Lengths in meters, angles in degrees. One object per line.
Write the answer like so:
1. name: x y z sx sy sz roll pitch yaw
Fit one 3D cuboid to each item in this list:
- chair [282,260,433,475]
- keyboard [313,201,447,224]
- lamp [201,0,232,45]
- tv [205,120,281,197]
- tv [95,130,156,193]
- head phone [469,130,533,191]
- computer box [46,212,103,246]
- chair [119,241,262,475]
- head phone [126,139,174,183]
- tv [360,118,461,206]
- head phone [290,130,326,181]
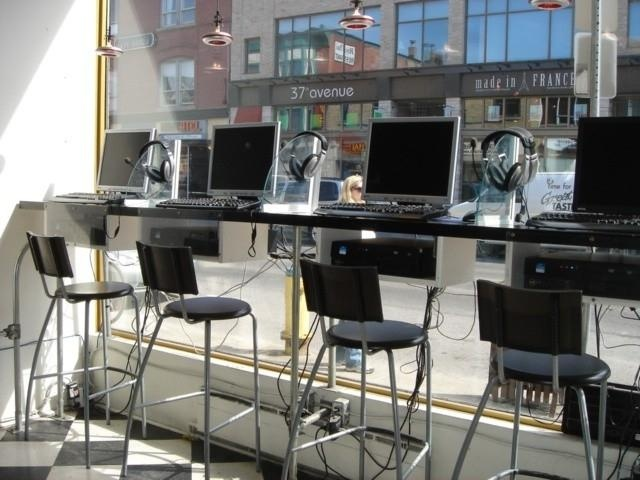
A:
1. chair: 0.194 0.720 3.087 0.713 1.357 0.507 2 15 10
2. keyboard: 0.283 -0.137 3.093 0.655 0.058 0.270 3 15 13
3. lamp: -0.676 -1.472 4.269 0.193 0.308 0.310 1 15 7
4. tv: -0.450 -0.486 3.840 0.481 0.600 0.043 -2 -9 27
5. tv: -1.286 -0.521 4.255 0.419 0.524 0.053 -2 -9 30
6. head phone: 0.846 -0.380 2.888 0.240 0.323 0.114 3 22 40
7. computer box: -1.481 -0.065 3.955 0.380 0.208 0.192 9 3 17
8. chair: -0.740 0.640 3.571 0.799 1.376 0.655 5 16 20
9. head phone: -1.055 -0.554 4.148 0.119 0.319 0.358 3 -3 14
10. tv: 0.477 -0.390 3.221 0.418 0.521 0.041 3 1 16
11. head phone: -0.083 -0.458 3.468 0.234 0.305 0.108 -4 -21 30
